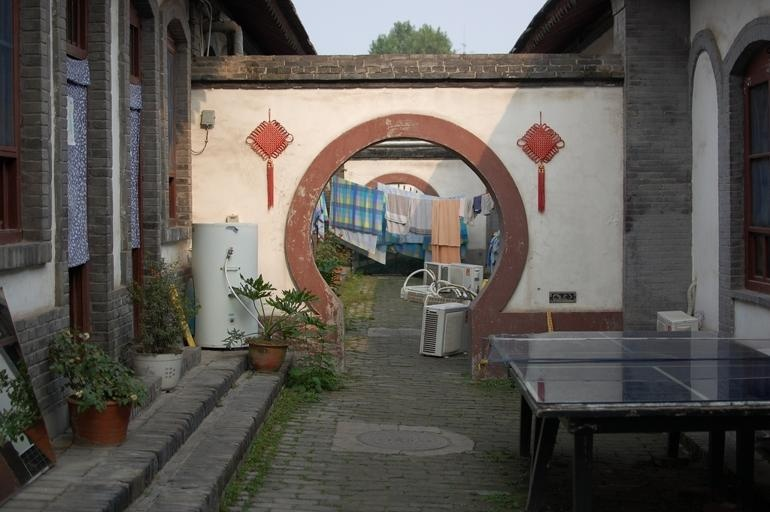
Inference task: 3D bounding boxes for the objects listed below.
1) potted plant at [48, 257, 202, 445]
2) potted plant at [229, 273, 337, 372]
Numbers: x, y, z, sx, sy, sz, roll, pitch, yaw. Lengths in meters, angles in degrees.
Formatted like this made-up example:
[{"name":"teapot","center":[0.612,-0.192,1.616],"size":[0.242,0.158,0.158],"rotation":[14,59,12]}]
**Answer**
[{"name":"potted plant","center":[-2.593,0.864,6.686],"size":[0.782,1.378,2.202],"rotation":[0,5,-4]},{"name":"potted plant","center":[-1.446,0.929,9.205],"size":[1.257,0.960,1.236],"rotation":[6,-3,-7]}]
